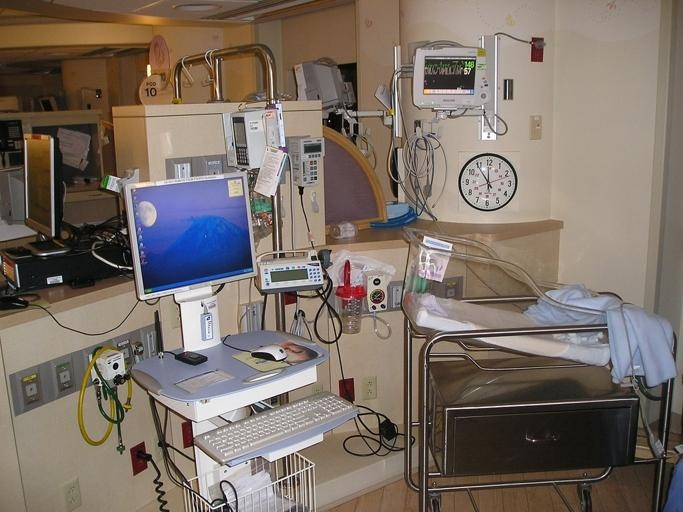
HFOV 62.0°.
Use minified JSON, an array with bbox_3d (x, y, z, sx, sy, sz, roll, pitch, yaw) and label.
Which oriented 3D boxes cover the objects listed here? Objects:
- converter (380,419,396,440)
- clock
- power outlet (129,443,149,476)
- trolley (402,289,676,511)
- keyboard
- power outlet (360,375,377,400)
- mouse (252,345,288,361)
[{"bbox_3d":[0.278,1.050,3.461,0.081,0.120,0.033,4,3,11],"label":"converter"},{"bbox_3d":[0.962,-0.505,3.731,0.340,0.384,0.054,-1,10,-1],"label":"clock"},{"bbox_3d":[-1.066,1.049,2.973,0.030,0.155,0.100,-2,12,31],"label":"power outlet"},{"bbox_3d":[0.889,0.571,3.094,1.150,1.293,0.992,-3,19,-4],"label":"trolley"},{"bbox_3d":[-0.262,0.720,2.361,0.668,0.146,0.199,-9,12,-27],"label":"keyboard"},{"bbox_3d":[0.166,0.816,3.599,0.140,0.211,0.021,-2,10,-16],"label":"power outlet"},{"bbox_3d":[-0.323,0.406,2.504,0.114,0.041,0.069,7,14,23],"label":"mouse"}]
